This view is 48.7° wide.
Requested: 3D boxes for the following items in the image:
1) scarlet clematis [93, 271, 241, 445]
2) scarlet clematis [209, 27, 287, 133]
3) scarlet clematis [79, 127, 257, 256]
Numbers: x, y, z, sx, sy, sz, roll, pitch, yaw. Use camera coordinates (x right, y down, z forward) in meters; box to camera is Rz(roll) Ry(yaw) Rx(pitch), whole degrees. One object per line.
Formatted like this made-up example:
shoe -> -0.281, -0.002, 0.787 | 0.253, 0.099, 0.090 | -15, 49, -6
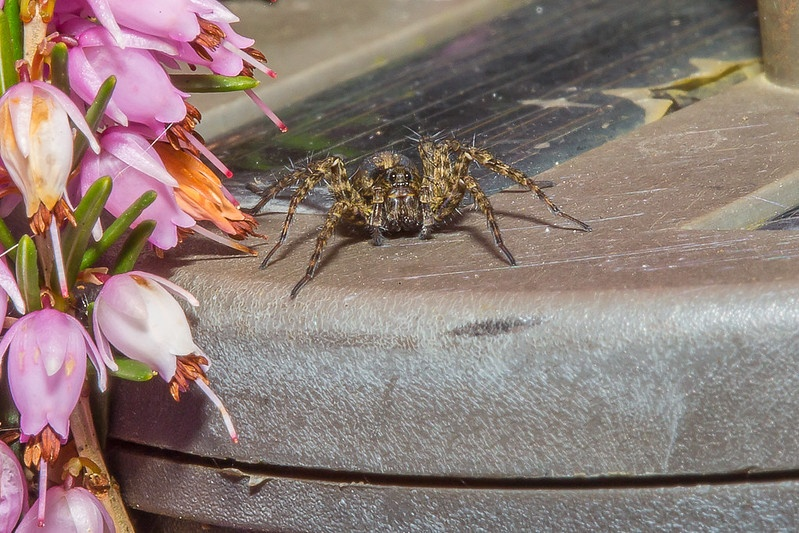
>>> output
scarlet clematis -> -0.131, 0.053, 0.527 | 0.068, 0.097, 0.065 | -10, 29, -16
scarlet clematis -> -0.099, -0.125, 0.580 | 0.034, 0.073, 0.027 | 24, 82, 47
scarlet clematis -> -0.159, -0.051, 0.586 | 0.071, 0.077, 0.079 | 4, 15, 40
